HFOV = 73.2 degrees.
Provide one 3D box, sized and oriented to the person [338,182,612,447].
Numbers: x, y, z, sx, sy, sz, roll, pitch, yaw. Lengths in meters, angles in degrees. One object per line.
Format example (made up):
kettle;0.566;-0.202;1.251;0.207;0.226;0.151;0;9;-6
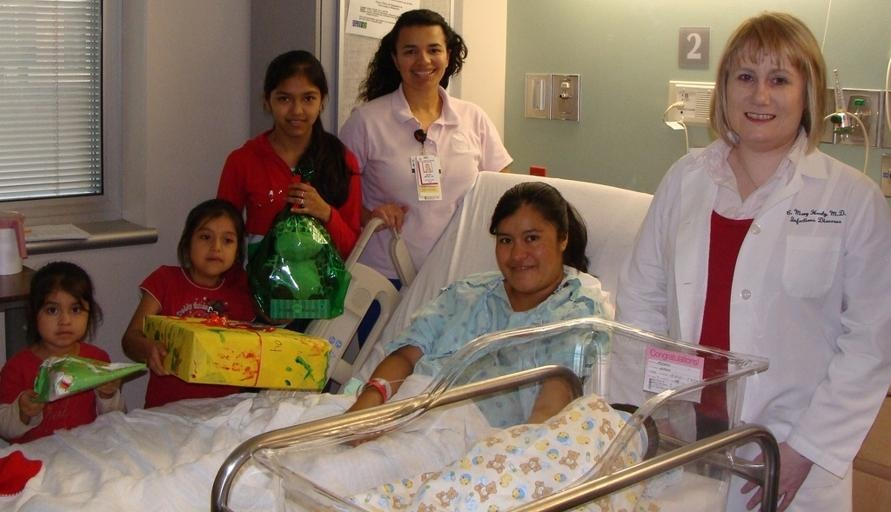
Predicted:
person;0.204;0.182;2.224;0.706;0.658;1.105;9;22;34
